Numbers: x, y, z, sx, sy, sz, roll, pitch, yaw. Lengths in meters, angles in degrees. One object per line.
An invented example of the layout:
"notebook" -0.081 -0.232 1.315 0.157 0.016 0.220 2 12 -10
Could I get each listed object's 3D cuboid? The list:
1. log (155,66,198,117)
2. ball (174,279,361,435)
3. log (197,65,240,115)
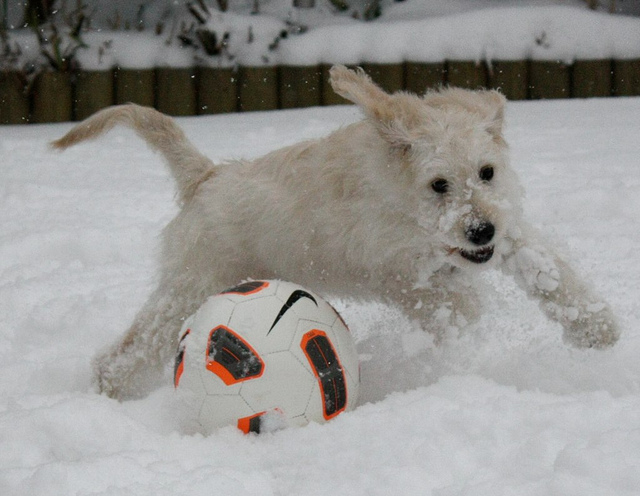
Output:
"log" -1.373 -1.414 8.591 0.454 0.434 0.512 -1 2 -10
"ball" -0.258 0.570 4.464 0.897 0.479 0.546 2 39 -11
"log" -0.978 -1.481 8.547 0.368 0.451 0.254 -1 0 -9
